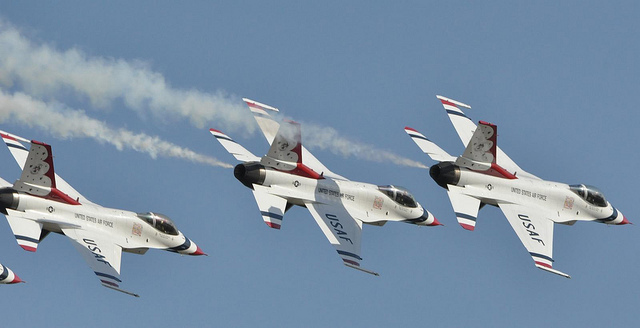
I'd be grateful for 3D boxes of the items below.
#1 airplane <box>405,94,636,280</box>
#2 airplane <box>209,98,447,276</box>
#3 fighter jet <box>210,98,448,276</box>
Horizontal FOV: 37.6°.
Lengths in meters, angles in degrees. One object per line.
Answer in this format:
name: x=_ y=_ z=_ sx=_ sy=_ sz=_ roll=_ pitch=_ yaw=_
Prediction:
airplane: x=9.632 y=1.392 z=44.969 sx=11.407 sy=4.133 sz=10.249 roll=5 pitch=41 yaw=-22
airplane: x=1.165 y=1.360 z=44.121 sx=9.682 sy=3.461 sz=8.950 roll=7 pitch=30 yaw=-29
fighter jet: x=1.550 y=0.837 z=45.108 sx=11.448 sy=4.505 sz=11.798 roll=12 pitch=25 yaw=-32
